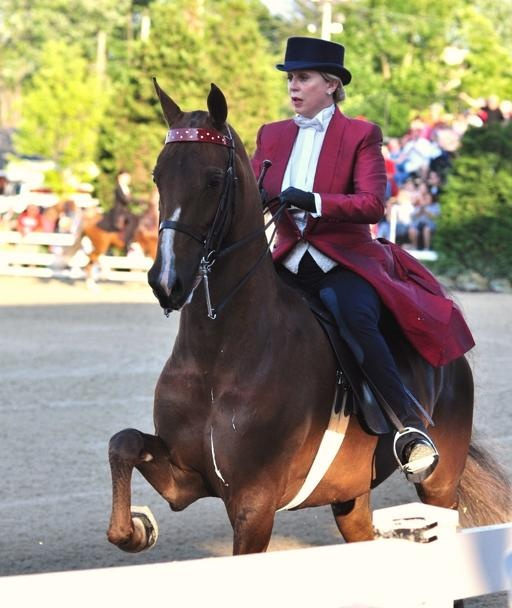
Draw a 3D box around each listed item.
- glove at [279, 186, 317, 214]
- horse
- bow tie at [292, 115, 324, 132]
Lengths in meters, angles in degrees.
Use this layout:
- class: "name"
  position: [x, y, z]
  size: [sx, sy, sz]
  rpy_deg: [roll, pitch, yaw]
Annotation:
- class: "glove"
  position: [0.155, -0.386, 3.830]
  size: [0.128, 0.048, 0.081]
  rpy_deg: [12, 58, -2]
- class: "horse"
  position: [0.182, 0.141, 3.958]
  size: [0.530, 1.810, 1.766]
  rpy_deg: [5, 4, 39]
- class: "bow tie"
  position: [0.214, -0.698, 4.054]
  size: [0.158, 0.063, 0.070]
  rpy_deg: [6, -2, 21]
